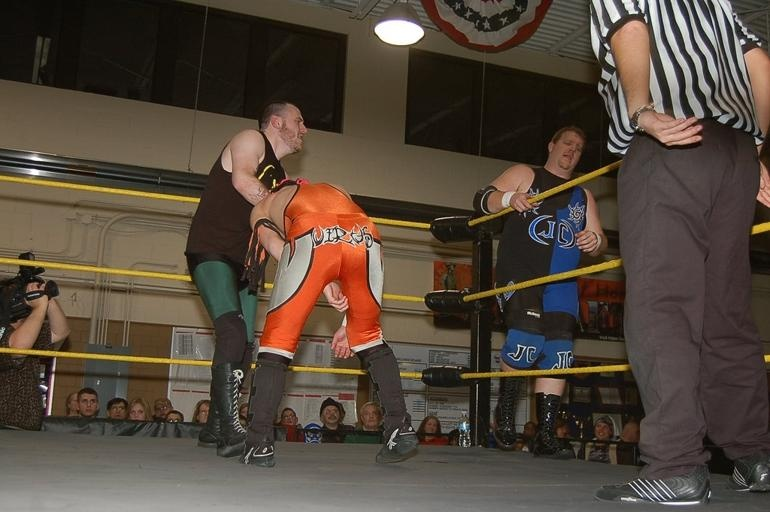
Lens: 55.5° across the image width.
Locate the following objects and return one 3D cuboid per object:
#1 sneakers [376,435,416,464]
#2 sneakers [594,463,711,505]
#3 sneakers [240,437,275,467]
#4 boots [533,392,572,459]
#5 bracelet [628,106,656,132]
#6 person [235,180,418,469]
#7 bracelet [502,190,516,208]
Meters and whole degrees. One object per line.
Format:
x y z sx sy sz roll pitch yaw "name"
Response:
0.064 0.879 3.332 0.146 0.134 0.162 10 -16 -34 "sneakers"
1.034 0.870 2.808 0.471 0.166 0.153 0 -22 12 "sneakers"
-0.550 0.848 3.148 0.154 0.108 0.079 1 -14 1 "sneakers"
0.904 0.888 3.939 0.167 0.292 0.317 7 9 5 "boots"
0.974 -0.508 2.773 0.109 0.048 0.085 -36 15 -26 "bracelet"
-0.247 0.294 3.419 0.735 1.315 0.382 7 -15 -23 "person"
0.684 -0.322 4.001 0.054 0.095 0.103 5 -14 -16 "bracelet"
